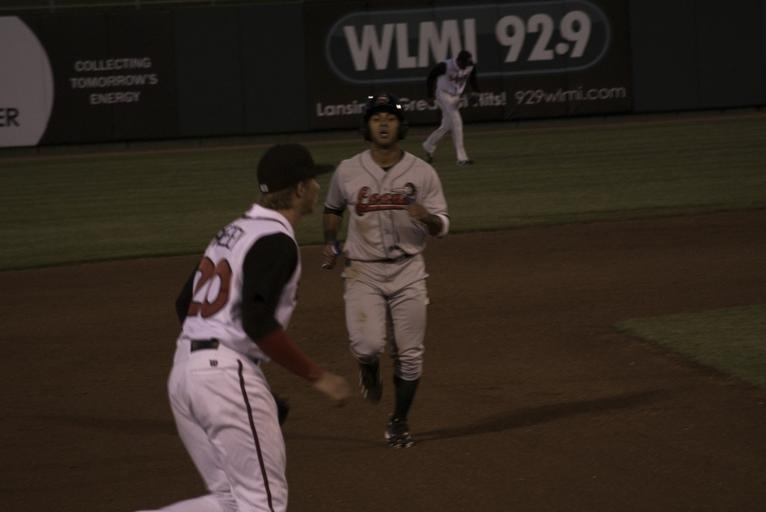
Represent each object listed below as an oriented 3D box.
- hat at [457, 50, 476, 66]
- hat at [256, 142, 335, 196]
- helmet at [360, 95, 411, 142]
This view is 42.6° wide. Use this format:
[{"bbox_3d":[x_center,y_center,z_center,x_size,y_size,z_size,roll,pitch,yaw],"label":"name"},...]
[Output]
[{"bbox_3d":[1.463,-3.554,17.815,0.284,0.308,0.415,-2,10,3],"label":"hat"},{"bbox_3d":[-0.804,-0.828,9.041,0.645,0.320,0.414,-14,17,-11],"label":"hat"},{"bbox_3d":[0.029,-1.509,10.757,0.545,0.422,0.513,-1,5,-1],"label":"helmet"}]
